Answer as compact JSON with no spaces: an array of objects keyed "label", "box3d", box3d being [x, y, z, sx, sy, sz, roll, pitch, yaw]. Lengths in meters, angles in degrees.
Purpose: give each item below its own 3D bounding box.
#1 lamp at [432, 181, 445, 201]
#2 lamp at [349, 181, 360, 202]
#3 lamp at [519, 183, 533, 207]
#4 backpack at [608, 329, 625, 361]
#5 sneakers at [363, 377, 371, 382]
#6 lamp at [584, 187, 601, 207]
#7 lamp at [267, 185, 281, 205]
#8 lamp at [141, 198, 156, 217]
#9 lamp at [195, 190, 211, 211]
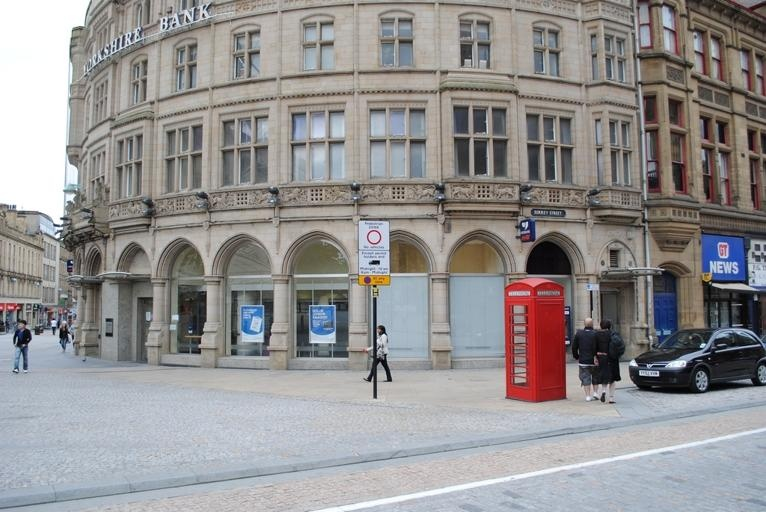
[{"label":"lamp","box3d":[2.488,-2.742,32.941,0.671,0.882,0.663,1,-6,-7]},{"label":"lamp","box3d":[-1.152,-2.779,33.030,0.426,0.814,0.362,-1,6,-6]},{"label":"lamp","box3d":[6.414,-2.735,33.698,0.853,0.901,0.410,-5,7,-40]},{"label":"backpack","box3d":[7.941,3.078,25.847,0.508,0.987,0.317,-2,6,-16]},{"label":"sneakers","box3d":[-0.601,4.886,29.830,0.313,0.125,0.113,13,-14,33]},{"label":"lamp","box3d":[9.600,-2.665,34.700,0.661,0.846,0.804,5,-8,-14]},{"label":"lamp","box3d":[-4.772,-2.646,33.606,0.471,0.861,0.476,-2,6,-10]},{"label":"lamp","box3d":[-11.156,-2.328,36.264,0.893,1.043,0.569,-1,-2,-44]},{"label":"lamp","box3d":[-8.275,-2.509,34.694,0.772,0.858,0.577,3,7,35]}]
